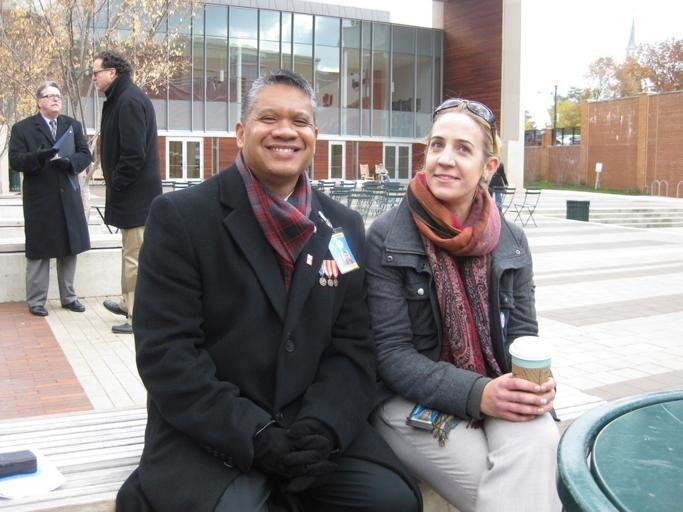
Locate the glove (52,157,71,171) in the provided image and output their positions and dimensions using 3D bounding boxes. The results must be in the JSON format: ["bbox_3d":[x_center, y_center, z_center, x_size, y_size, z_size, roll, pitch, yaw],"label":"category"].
[{"bbox_3d":[-3.221,-1.047,5.985,0.145,0.156,0.185,1,10,-4],"label":"glove"}]

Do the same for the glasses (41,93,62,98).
[{"bbox_3d":[-3.399,-1.876,6.119,0.092,0.067,0.214,9,12,35],"label":"glasses"}]

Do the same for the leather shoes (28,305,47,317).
[{"bbox_3d":[-3.565,0.655,6.131,0.300,0.144,0.100,-4,-1,37],"label":"leather shoes"}]

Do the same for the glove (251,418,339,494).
[{"bbox_3d":[-0.177,0.739,1.957,0.293,0.146,0.254,44,58,15],"label":"glove"}]

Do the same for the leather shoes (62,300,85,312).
[{"bbox_3d":[-3.217,0.589,6.311,0.335,0.150,0.129,2,5,25],"label":"leather shoes"}]

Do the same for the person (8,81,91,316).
[{"bbox_3d":[-3.424,-0.694,6.178,0.838,2.694,0.664,-4,11,-29],"label":"person"}]

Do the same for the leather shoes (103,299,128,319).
[{"bbox_3d":[-2.623,0.623,6.030,0.288,0.124,0.106,30,15,-38],"label":"leather shoes"}]
